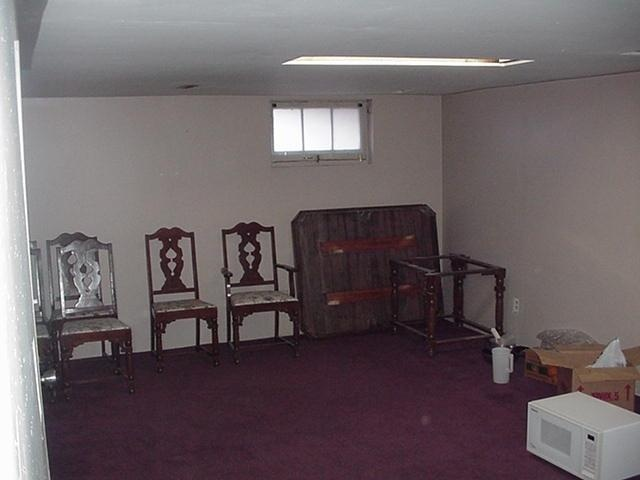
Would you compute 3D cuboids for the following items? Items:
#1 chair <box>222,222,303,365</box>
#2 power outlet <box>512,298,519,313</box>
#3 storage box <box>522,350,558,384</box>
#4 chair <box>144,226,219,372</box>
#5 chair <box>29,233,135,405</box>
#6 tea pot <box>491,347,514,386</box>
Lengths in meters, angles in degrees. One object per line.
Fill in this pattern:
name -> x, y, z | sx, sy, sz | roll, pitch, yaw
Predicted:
chair -> -0.560, 0.454, 5.001 | 0.727, 1.217, 0.765 | -3, 9, -10
power outlet -> 1.821, 0.603, 4.852 | 0.013, 0.140, 0.087 | -5, 10, -21
storage box -> 1.775, 0.998, 4.110 | 0.170, 0.200, 0.277 | 6, -3, -32
chair -> -1.284, 0.504, 4.788 | 0.590, 1.216, 0.733 | -5, 9, -19
chair -> -2.008, 0.563, 4.435 | 0.614, 1.216, 1.188 | -6, 10, -26
tea pot -> 1.457, 0.969, 4.168 | 0.155, 0.283, 0.226 | 2, 10, 20
